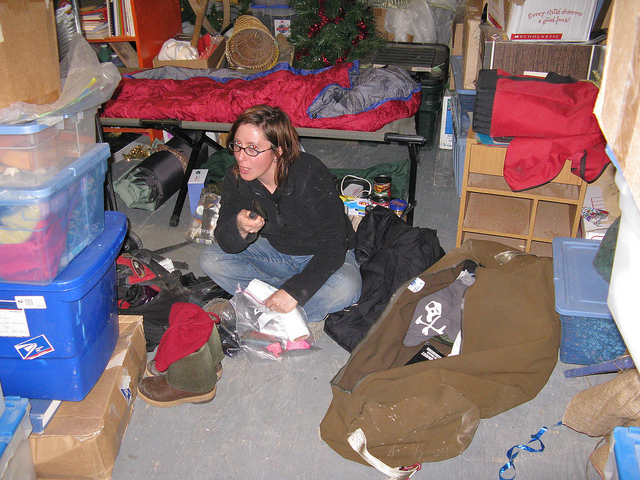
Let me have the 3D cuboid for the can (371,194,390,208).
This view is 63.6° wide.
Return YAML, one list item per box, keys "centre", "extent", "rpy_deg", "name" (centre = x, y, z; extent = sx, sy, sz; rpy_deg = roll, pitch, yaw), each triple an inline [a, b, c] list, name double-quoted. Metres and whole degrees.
- centre: [0.358, -0.238, 3.070]
  extent: [0.109, 0.048, 0.093]
  rpy_deg: [3, 28, 6]
  name: "can"

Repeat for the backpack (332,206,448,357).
- centre: [0.302, 0.209, 2.654]
  extent: [0.510, 0.207, 0.629]
  rpy_deg: [27, 79, 17]
  name: "backpack"

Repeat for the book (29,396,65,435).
- centre: [-0.973, 0.621, 1.845]
  extent: [0.102, 0.025, 0.104]
  rpy_deg: [6, 26, 6]
  name: "book"

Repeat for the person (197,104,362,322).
- centre: [-0.209, -0.147, 2.431]
  extent: [0.826, 0.934, 0.666]
  rpy_deg: [2, 24, 21]
  name: "person"

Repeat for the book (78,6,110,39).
- centre: [-1.881, -1.825, 4.331]
  extent: [0.207, 0.240, 0.288]
  rpy_deg: [-8, 28, -15]
  name: "book"

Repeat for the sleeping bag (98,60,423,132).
- centre: [-0.366, -1.007, 3.518]
  extent: [2.062, 0.337, 0.907]
  rpy_deg: [4, 28, 7]
  name: "sleeping bag"
